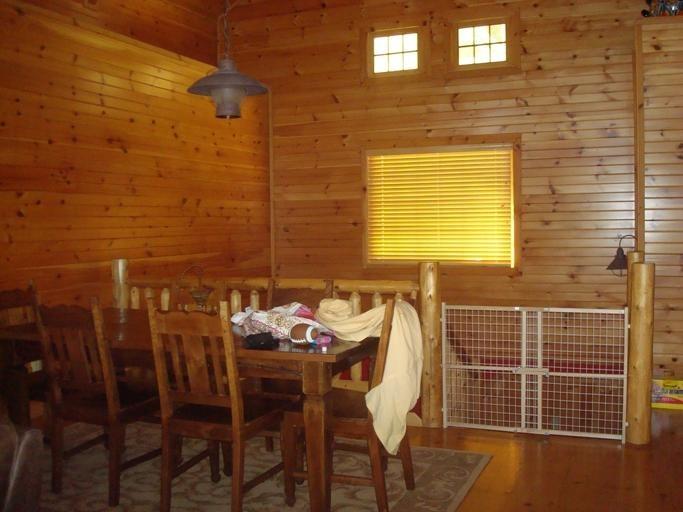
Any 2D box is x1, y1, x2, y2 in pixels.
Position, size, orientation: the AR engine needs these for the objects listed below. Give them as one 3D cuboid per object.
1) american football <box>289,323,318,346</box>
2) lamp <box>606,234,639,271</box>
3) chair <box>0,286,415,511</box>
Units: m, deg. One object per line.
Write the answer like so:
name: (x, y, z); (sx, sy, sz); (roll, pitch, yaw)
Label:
american football: (-0.198, 0.470, 3.393); (0.179, 0.095, 0.113); (3, -23, 24)
lamp: (2.755, 0.004, 5.643); (0.225, 0.390, 0.666); (4, 9, 25)
chair: (-0.653, 0.943, 3.834); (2.086, 1.381, 1.457); (0, 3, 26)
